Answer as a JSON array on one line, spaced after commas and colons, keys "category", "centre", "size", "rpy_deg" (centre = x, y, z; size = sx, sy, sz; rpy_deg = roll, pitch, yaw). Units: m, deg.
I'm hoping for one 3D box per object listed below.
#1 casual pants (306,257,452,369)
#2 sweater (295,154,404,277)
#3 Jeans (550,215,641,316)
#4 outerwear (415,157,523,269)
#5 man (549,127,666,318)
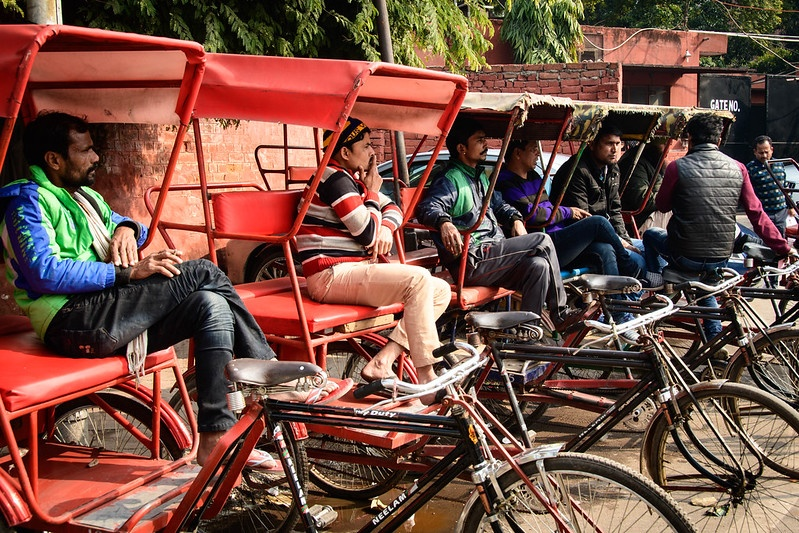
[{"category": "casual pants", "centre": [-0.119, 0.304, 5.433], "size": [0.769, 1.187, 0.665], "rpy_deg": [-9, 1, 5]}, {"category": "sweater", "centre": [-0.371, -0.339, 5.458], "size": [0.661, 0.817, 0.815], "rpy_deg": [0, 5, 26]}, {"category": "Jeans", "centre": [1.841, 0.001, 7.274], "size": [0.835, 1.058, 0.898], "rpy_deg": [-2, 0, 30]}, {"category": "outerwear", "centre": [0.597, -0.454, 6.436], "size": [0.491, 0.858, 1.569], "rpy_deg": [-4, 2, 32]}, {"category": "man", "centre": [1.989, -0.571, 7.432], "size": [0.784, 1.882, 1.294], "rpy_deg": [16, -10, -23]}]
